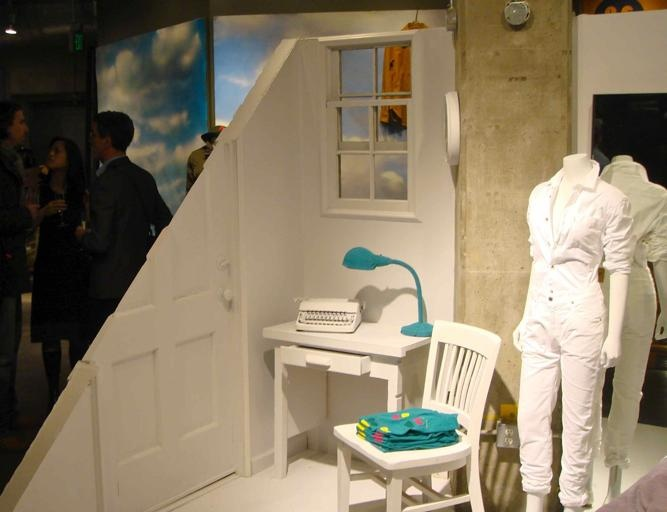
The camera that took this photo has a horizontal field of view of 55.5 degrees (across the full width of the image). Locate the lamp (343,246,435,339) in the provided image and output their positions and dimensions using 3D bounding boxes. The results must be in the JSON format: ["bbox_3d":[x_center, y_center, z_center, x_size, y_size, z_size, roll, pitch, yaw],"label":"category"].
[{"bbox_3d":[0.301,0.204,3.695,0.650,0.775,0.322,1,0,2],"label":"lamp"}]

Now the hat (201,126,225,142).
[{"bbox_3d":[-0.931,-0.947,4.942,0.220,0.110,0.261,-5,3,-16],"label":"hat"}]

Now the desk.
[{"bbox_3d":[0.030,1.142,4.062,1.168,1.295,0.799,2,3,26],"label":"desk"}]
